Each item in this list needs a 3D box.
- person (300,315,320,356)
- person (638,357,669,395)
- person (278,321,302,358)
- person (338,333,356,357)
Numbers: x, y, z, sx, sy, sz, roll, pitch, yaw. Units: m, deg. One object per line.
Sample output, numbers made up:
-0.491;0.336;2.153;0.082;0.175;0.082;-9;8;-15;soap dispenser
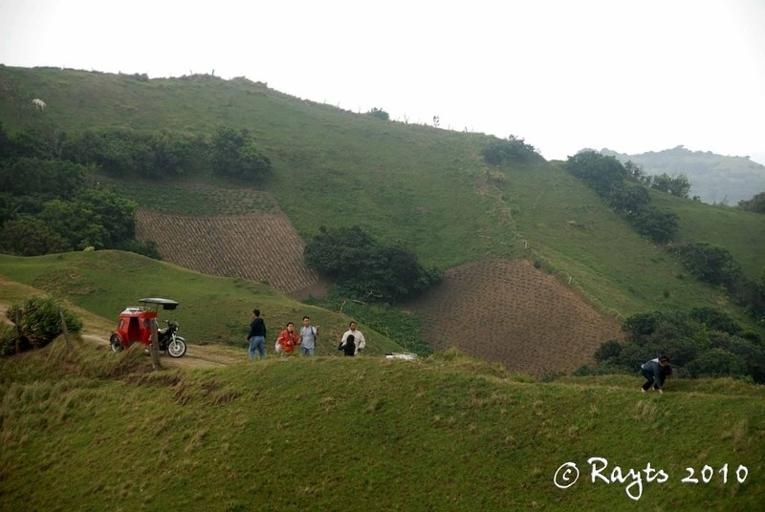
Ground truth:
-4.122;4.462;39.586;0.702;2.175;0.893;1;7;-39;person
13.379;5.668;35.065;1.108;1.779;1.582;8;6;25;person
-5.308;4.609;39.656;0.964;2.026;1.225;11;8;41;person
-1.884;4.882;39.480;0.913;1.269;0.593;5;6;-3;person
